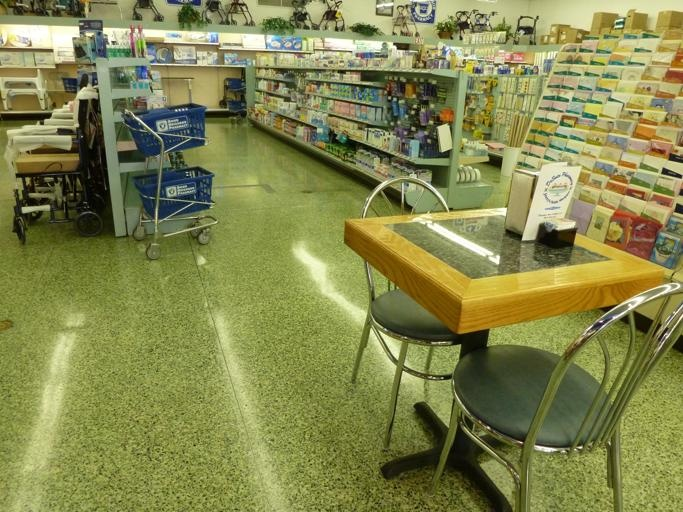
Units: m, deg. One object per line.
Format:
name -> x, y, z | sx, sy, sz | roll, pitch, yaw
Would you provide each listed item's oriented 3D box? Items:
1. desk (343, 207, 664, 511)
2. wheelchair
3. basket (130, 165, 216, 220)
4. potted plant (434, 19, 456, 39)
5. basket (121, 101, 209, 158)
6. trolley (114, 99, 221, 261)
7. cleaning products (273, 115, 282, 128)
desk -> 0.805, 0.385, 3.014 | 1.546, 1.422, 1.407 | -7, 30, -19
wheelchair -> -2.770, -0.933, 4.907 | 0.933, 1.306, 1.400 | -9, 27, -23
basket -> -1.424, -0.550, 4.525 | 0.775, 0.326, 0.484 | -8, 22, -29
potted plant -> 3.217, -6.761, 15.385 | 0.678, 0.559, 0.610 | -9, 36, -8
basket -> -1.418, -1.060, 4.345 | 0.746, 0.378, 0.458 | -16, 40, -22
trolley -> -1.536, -0.673, 4.564 | 0.889, 1.191, 0.728 | -14, 20, -35
cleaning products -> -1.344, -2.847, 10.774 | 0.115, 0.320, 0.347 | -4, 0, -26
